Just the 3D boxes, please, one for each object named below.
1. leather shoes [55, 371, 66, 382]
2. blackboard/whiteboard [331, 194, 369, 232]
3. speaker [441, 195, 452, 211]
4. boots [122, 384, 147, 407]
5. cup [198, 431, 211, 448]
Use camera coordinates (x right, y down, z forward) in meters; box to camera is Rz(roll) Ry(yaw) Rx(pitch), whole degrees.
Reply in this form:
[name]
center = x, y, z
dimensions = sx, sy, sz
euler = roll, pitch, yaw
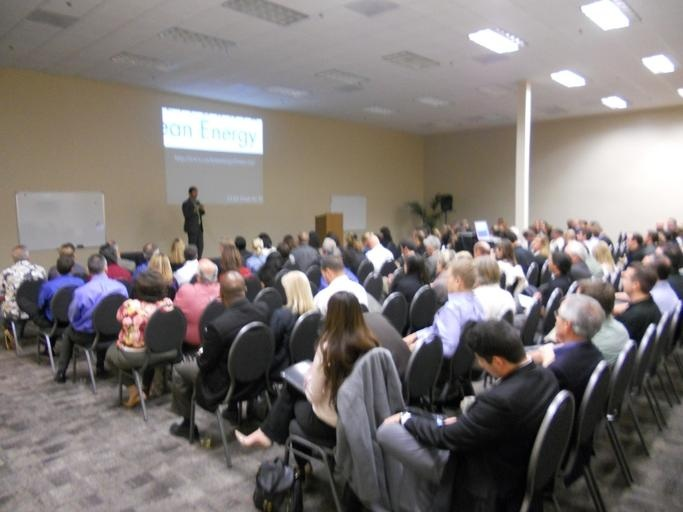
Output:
[leather shoes]
center = -2.992, 1.298, 5.305
dimensions = 0.056, 0.067, 0.136
euler = -2, 10, -30
[blackboard/whiteboard]
center = 0.201, -1.304, 14.915
dimensions = 0.146, 1.364, 1.358
euler = -3, -2, 38
[speaker]
center = 3.653, -1.833, 17.299
dimensions = 0.435, 0.503, 0.120
euler = 4, 1, -6
[boots]
center = -2.002, 1.371, 4.838
dimensions = 0.174, 0.224, 0.082
euler = 43, 19, 1
[cup]
center = -1.179, 1.603, 4.296
dimensions = 0.072, 0.092, 0.071
euler = 2, -2, 0
